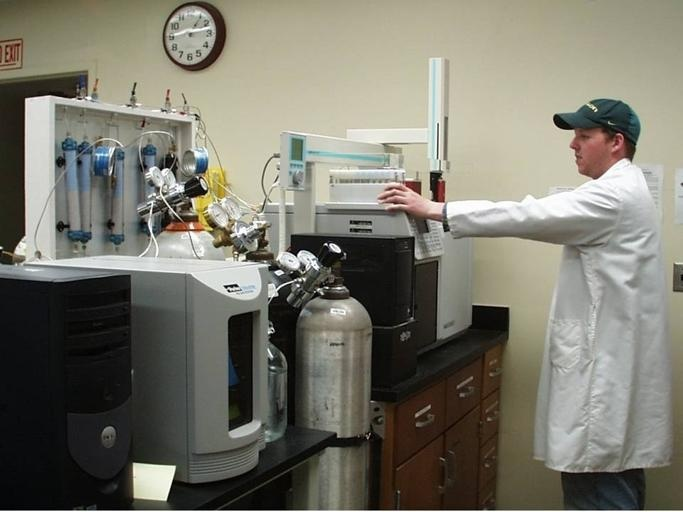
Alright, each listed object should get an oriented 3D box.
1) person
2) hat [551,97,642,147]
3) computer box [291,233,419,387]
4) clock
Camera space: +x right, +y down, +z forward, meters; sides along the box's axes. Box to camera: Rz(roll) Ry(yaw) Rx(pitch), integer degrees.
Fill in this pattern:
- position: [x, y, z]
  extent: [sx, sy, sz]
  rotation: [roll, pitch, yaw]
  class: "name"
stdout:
- position: [0.967, 0.185, 3.186]
  extent: [1.481, 2.626, 1.033]
  rotation: [3, 2, 28]
  class: "person"
- position: [0.998, -0.526, 2.148]
  extent: [0.278, 0.153, 0.198]
  rotation: [14, 9, -1]
  class: "hat"
- position: [0.064, 0.168, 1.997]
  extent: [0.378, 0.491, 0.287]
  rotation: [5, 3, 20]
  class: "computer box"
- position: [-0.981, -1.454, 3.597]
  extent: [0.394, 0.446, 0.098]
  rotation: [5, 11, 32]
  class: "clock"
